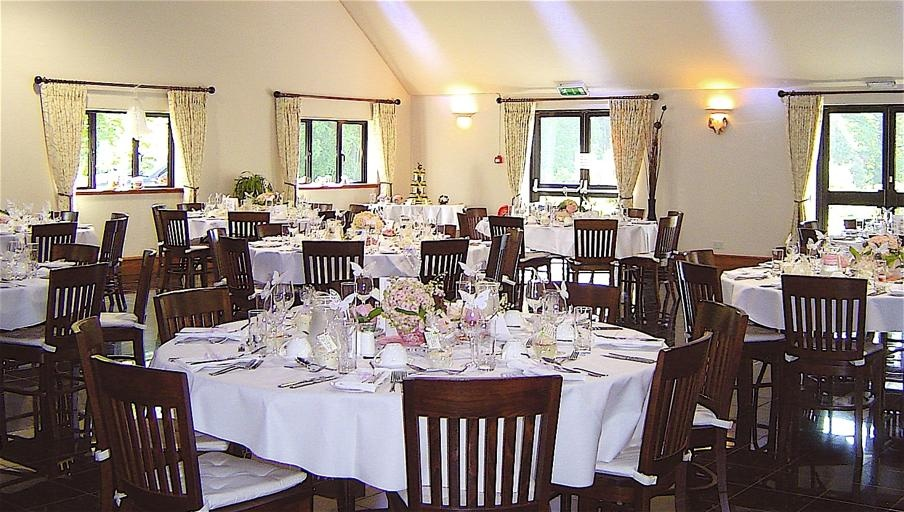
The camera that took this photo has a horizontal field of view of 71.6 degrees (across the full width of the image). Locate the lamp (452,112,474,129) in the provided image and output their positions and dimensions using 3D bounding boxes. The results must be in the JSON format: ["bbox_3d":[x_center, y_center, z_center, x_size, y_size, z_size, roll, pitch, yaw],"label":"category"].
[{"bbox_3d":[0.269,-3.072,14.128,0.394,0.249,0.387,3,8,31],"label":"lamp"}]
